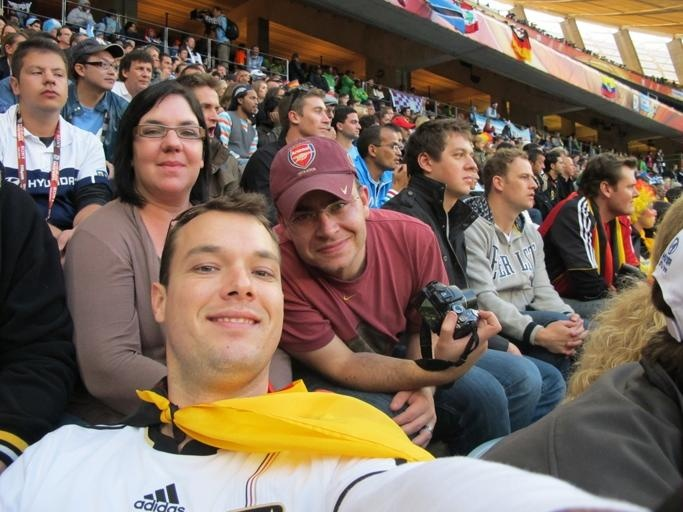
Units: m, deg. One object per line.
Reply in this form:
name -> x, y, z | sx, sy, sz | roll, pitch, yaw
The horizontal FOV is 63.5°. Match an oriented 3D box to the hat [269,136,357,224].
hat -> -0.127, -0.411, 2.859 | 0.362, 0.245, 0.474 | -19, 11, 10

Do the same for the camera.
camera -> 0.549, 0.243, 2.667 | 0.237, 0.182, 0.303 | -13, 40, -30

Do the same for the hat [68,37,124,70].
hat -> -2.602, -2.158, 5.788 | 0.519, 0.160, 0.318 | -16, 15, 14
